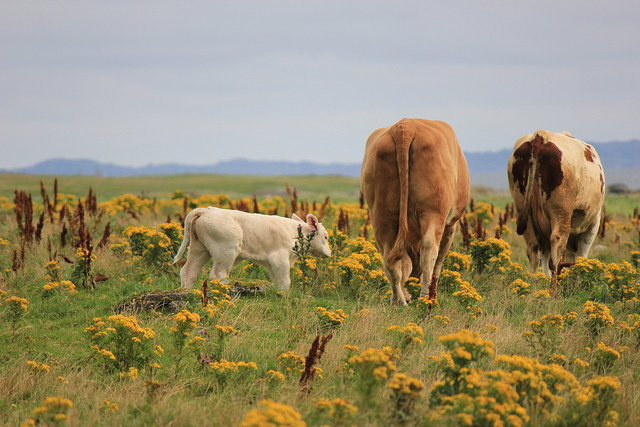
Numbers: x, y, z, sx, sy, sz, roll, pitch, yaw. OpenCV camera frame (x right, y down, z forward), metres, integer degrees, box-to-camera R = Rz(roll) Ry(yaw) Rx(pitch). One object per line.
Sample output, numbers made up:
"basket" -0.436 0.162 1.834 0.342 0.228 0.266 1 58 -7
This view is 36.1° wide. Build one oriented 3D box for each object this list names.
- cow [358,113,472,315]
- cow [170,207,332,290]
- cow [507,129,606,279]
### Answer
"cow" 2.397 -0.008 22.859 2.302 4.148 5.621 -3 0 13
"cow" -1.569 0.753 21.560 3.294 1.791 0.962 -3 5 -25
"cow" 6.012 -0.069 23.974 1.898 4.051 4.995 -1 -3 30
